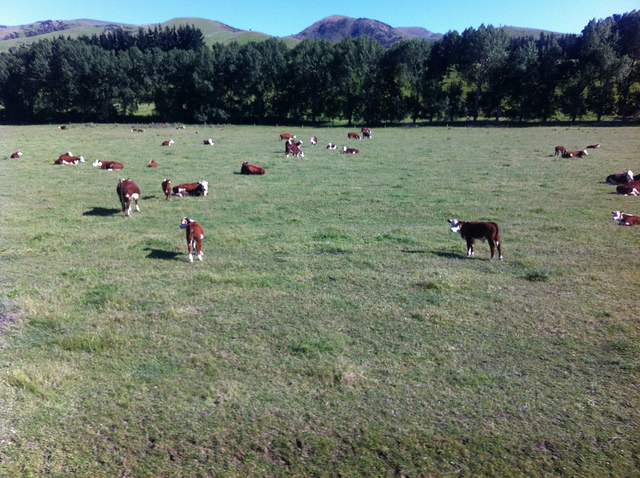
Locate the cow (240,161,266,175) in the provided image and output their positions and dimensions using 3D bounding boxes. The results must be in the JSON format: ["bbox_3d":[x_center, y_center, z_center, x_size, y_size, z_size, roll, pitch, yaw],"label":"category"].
[{"bbox_3d":[-4.277,-4.383,41.749,1.607,0.918,0.681,6,23,17],"label":"cow"}]

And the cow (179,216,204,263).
[{"bbox_3d":[-5.662,0.123,29.633,0.812,1.687,2.754,-5,1,-12],"label":"cow"}]

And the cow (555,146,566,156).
[{"bbox_3d":[17.890,-6.604,49.585,0.463,1.229,1.767,1,6,8],"label":"cow"}]

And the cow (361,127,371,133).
[{"bbox_3d":[4.659,-11.227,67.841,1.334,0.711,1.836,1,11,2],"label":"cow"}]

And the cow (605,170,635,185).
[{"bbox_3d":[17.124,-3.489,38.404,0.620,1.044,1.853,-11,11,-15],"label":"cow"}]

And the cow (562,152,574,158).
[{"bbox_3d":[17.611,-5.971,47.343,0.287,0.575,0.941,-1,5,43],"label":"cow"}]

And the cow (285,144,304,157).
[{"bbox_3d":[-1.983,-6.630,49.550,1.034,0.819,1.841,-17,23,-41],"label":"cow"}]

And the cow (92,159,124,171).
[{"bbox_3d":[-13.545,-4.712,42.661,2.193,0.522,0.914,7,19,25],"label":"cow"}]

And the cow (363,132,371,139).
[{"bbox_3d":[4.694,-10.508,66.836,0.739,0.776,2.043,-1,17,1],"label":"cow"}]

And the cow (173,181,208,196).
[{"bbox_3d":[-7.082,-2.642,36.711,1.991,0.955,0.793,-3,12,-4],"label":"cow"}]

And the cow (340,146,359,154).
[{"bbox_3d":[2.322,-6.785,51.067,1.249,0.666,0.454,5,7,7],"label":"cow"}]

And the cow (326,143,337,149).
[{"bbox_3d":[0.945,-7.754,55.738,0.769,0.532,1.155,0,11,2],"label":"cow"}]

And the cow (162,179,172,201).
[{"bbox_3d":[-8.175,-2.584,35.582,0.396,1.005,0.761,-6,16,-18],"label":"cow"}]

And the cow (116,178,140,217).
[{"bbox_3d":[-9.432,-2.109,32.911,0.658,1.339,2.503,-4,35,-19],"label":"cow"}]

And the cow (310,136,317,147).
[{"bbox_3d":[-0.580,-8.617,58.325,0.520,0.708,1.047,-1,8,-3],"label":"cow"}]

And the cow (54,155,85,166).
[{"bbox_3d":[-16.690,-5.155,44.322,1.704,0.932,0.657,-6,31,-26],"label":"cow"}]
